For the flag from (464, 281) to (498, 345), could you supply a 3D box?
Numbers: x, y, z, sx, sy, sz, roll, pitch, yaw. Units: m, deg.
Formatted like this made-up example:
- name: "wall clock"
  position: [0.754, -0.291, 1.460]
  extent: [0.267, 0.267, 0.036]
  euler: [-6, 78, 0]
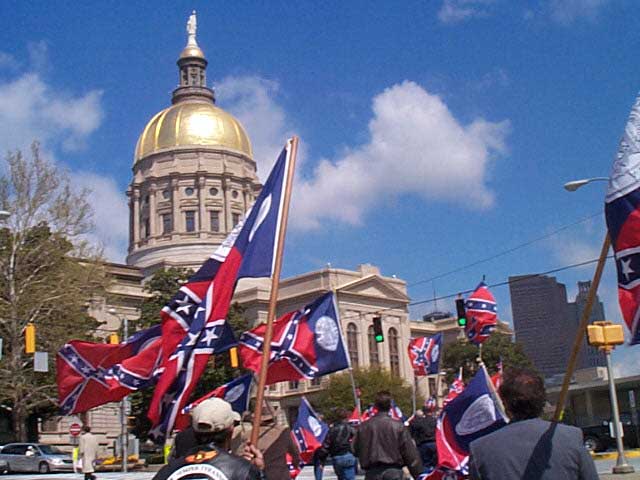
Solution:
- name: "flag"
  position: [4.397, 1.984, 23.028]
  extent: [0.809, 2.062, 1.960]
  euler: [-7, -22, 9]

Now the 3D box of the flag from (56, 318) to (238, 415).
- name: "flag"
  position: [-2.716, 1.873, 11.461]
  extent: [2.350, 0.937, 1.438]
  euler: [-2, 7, -5]
